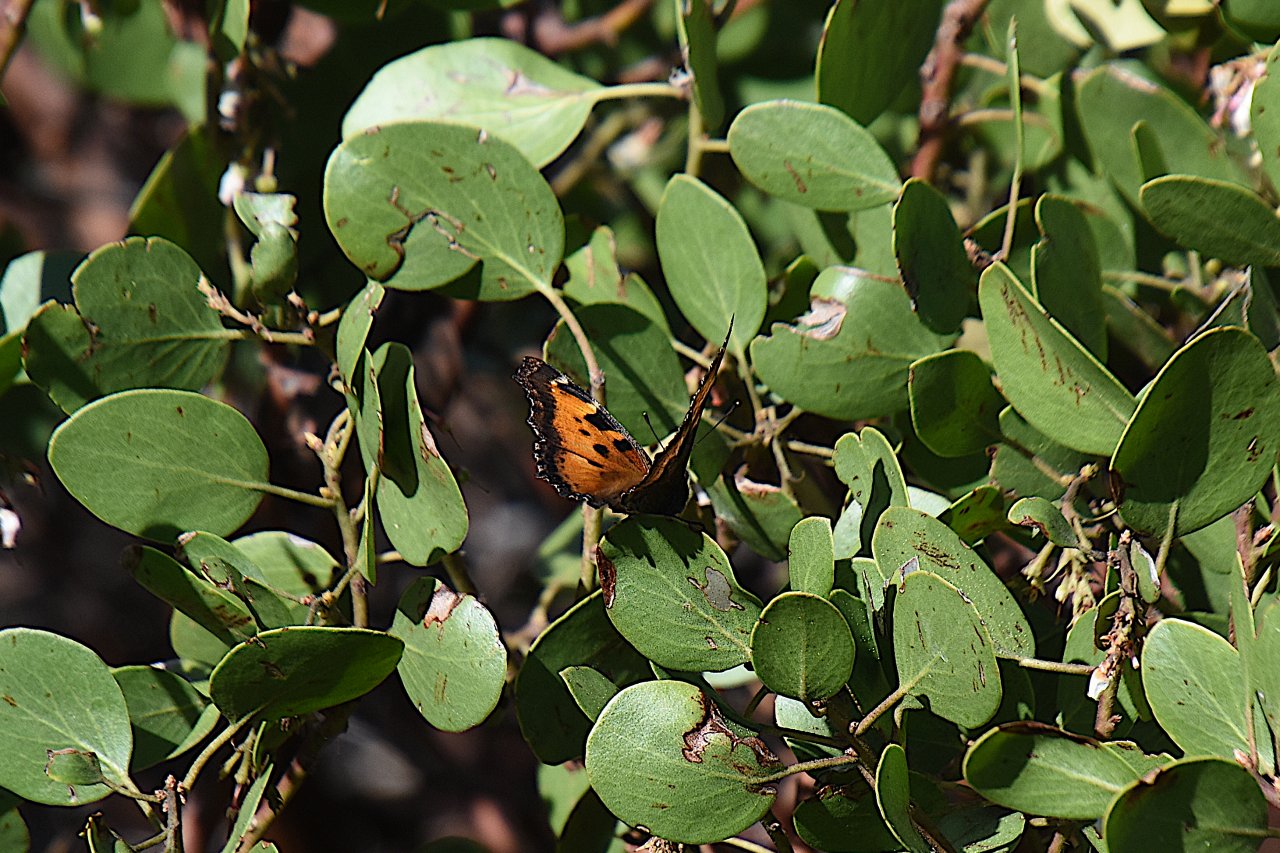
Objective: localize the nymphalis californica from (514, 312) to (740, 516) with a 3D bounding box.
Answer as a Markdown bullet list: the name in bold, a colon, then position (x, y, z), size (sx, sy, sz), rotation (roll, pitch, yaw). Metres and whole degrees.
- **nymphalis californica**: position (-0.010, 0.010, 1.448), size (0.204, 0.177, 0.212), rotation (-10, 4, -11)
